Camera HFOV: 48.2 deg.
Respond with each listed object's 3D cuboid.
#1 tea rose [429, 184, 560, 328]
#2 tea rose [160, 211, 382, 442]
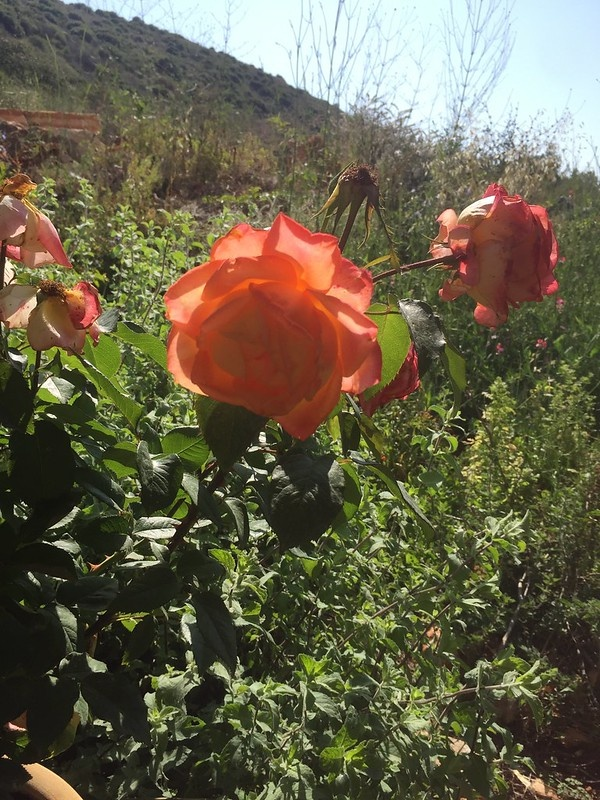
[{"bbox_3d":[0.238,-0.174,0.807,0.163,0.160,0.131,16,6,5],"label":"tea rose"},{"bbox_3d":[-0.018,-0.062,0.538,0.181,0.146,0.091,16,6,5],"label":"tea rose"}]
